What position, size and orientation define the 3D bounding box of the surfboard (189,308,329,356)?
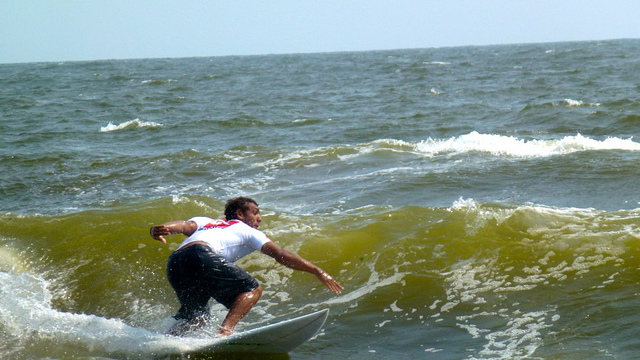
[{"bbox_3d":[-1.413,3.504,15.974,3.485,0.475,0.425,-11,14,2],"label":"surfboard"}]
